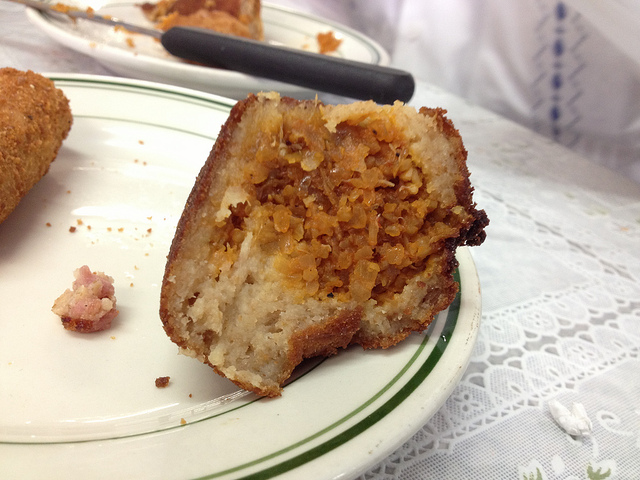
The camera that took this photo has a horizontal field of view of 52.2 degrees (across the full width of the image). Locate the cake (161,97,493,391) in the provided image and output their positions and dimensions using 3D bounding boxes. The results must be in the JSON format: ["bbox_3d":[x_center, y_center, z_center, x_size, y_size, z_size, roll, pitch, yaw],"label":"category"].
[{"bbox_3d":[0.016,0.004,1.345,0.650,0.460,0.436,3,43,-14],"label":"cake"}]
